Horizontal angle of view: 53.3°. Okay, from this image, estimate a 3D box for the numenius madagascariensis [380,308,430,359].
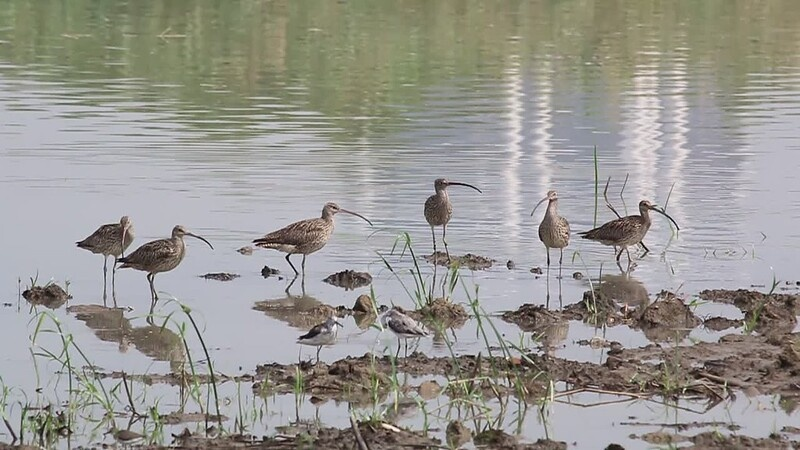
[{"bbox_3d":[0.108,1.980,15.094,1.000,0.633,0.437,4,-2,29],"label":"numenius madagascariensis"}]

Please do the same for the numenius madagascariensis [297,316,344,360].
[{"bbox_3d":[-1.463,2.134,14.963,0.561,0.700,1.023,13,-20,-42],"label":"numenius madagascariensis"}]

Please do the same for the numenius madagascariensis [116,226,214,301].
[{"bbox_3d":[-5.121,0.637,17.219,2.268,1.217,0.633,0,-3,-11],"label":"numenius madagascariensis"}]
